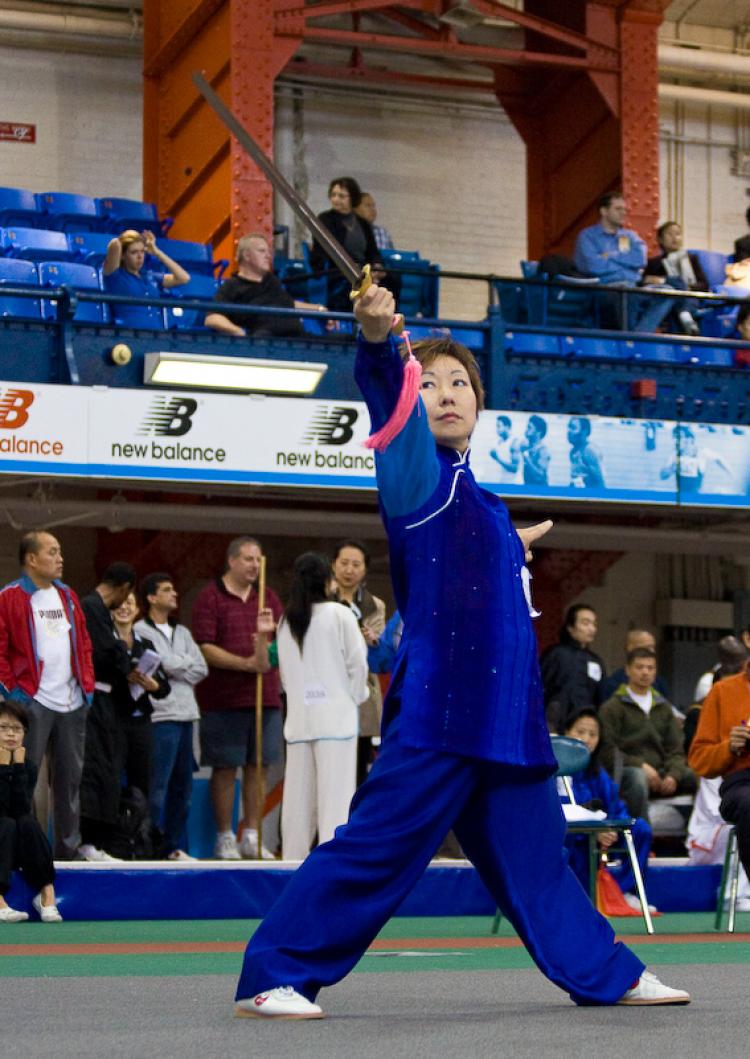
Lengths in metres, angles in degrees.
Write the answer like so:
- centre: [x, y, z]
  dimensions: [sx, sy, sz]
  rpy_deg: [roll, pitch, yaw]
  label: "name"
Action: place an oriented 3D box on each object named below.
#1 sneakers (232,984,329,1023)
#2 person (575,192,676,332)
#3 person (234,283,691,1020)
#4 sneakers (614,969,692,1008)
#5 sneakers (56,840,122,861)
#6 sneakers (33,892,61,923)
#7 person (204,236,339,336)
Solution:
- centre: [-0.302, 1.499, 7.975]
  dimensions: [0.224, 0.076, 0.104]
  rpy_deg: [-1, -6, 13]
  label: "sneakers"
- centre: [1.768, -1.803, 17.949]
  dimensions: [0.516, 1.103, 0.685]
  rpy_deg: [2, -3, -31]
  label: "person"
- centre: [0.240, 0.382, 8.163]
  dimensions: [1.241, 2.354, 0.535]
  rpy_deg: [-1, -1, -32]
  label: "person"
- centre: [0.915, 1.521, 8.323]
  dimensions: [0.268, 0.108, 0.092]
  rpy_deg: [-1, -7, -1]
  label: "sneakers"
- centre: [-1.416, 1.639, 12.985]
  dimensions: [0.399, 0.142, 0.116]
  rpy_deg: [2, -3, -14]
  label: "sneakers"
- centre: [-1.522, 1.800, 12.017]
  dimensions: [0.115, 0.132, 0.153]
  rpy_deg: [-1, -1, -17]
  label: "sneakers"
- centre: [-0.676, -1.516, 15.938]
  dimensions: [0.457, 0.658, 0.870]
  rpy_deg: [9, 20, 37]
  label: "person"
